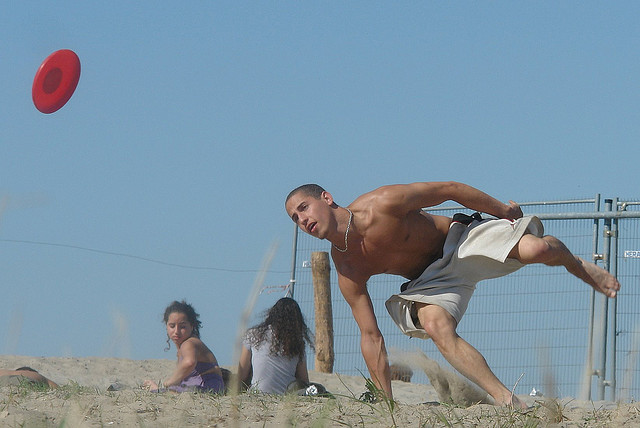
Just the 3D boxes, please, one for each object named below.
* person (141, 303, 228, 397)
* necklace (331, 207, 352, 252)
[{"bbox_3d":[-1.332,1.359,13.945,0.730,0.972,0.775,-6,-4,6],"label":"person"},{"bbox_3d":[0.190,0.127,12.512,0.198,0.349,0.080,-14,-21,35],"label":"necklace"}]
